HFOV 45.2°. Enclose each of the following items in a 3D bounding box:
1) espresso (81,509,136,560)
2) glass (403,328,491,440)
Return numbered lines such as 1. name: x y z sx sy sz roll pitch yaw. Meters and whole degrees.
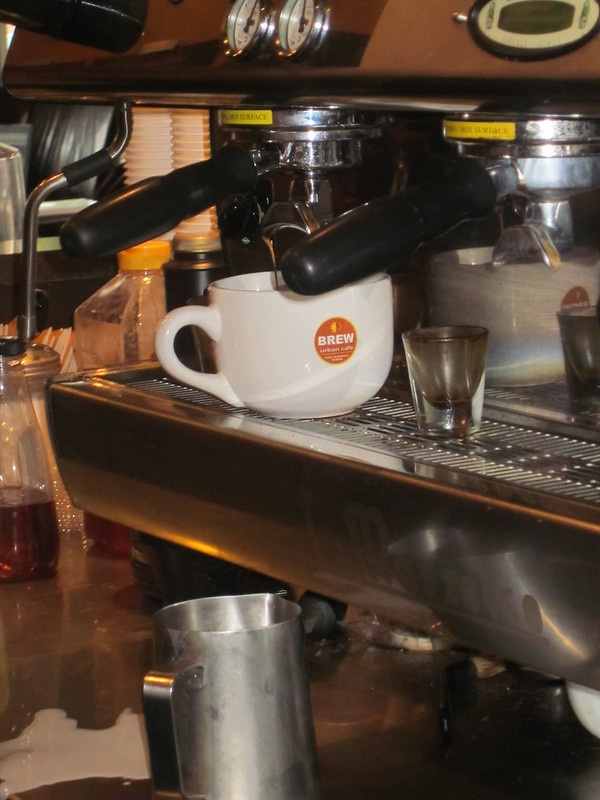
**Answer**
1. espresso: -0.186 0.129 0.718 0.064 0.051 0.039 4 10 19
2. glass: 0.081 -0.010 0.401 0.057 0.058 0.060 -3 -3 -11
